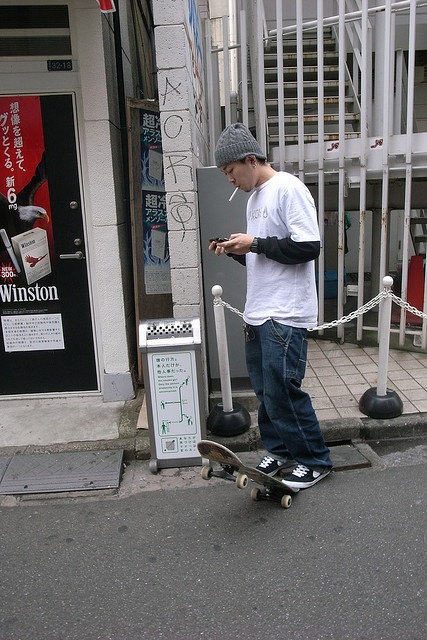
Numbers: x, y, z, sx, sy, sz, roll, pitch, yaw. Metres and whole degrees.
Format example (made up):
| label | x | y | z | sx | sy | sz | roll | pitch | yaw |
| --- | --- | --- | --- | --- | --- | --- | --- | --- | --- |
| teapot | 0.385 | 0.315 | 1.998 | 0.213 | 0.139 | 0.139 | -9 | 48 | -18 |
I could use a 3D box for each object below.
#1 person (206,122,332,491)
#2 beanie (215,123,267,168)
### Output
| label | x | y | z | sx | sy | sz | roll | pitch | yaw |
| --- | --- | --- | --- | --- | --- | --- | --- | --- | --- |
| person | 0.375 | -0.072 | 3.182 | 0.604 | 2.053 | 1.042 | -2 | 9 | 12 |
| beanie | 0.138 | -0.917 | 2.797 | 0.268 | 0.222 | 0.207 | -9 | 9 | -22 |
